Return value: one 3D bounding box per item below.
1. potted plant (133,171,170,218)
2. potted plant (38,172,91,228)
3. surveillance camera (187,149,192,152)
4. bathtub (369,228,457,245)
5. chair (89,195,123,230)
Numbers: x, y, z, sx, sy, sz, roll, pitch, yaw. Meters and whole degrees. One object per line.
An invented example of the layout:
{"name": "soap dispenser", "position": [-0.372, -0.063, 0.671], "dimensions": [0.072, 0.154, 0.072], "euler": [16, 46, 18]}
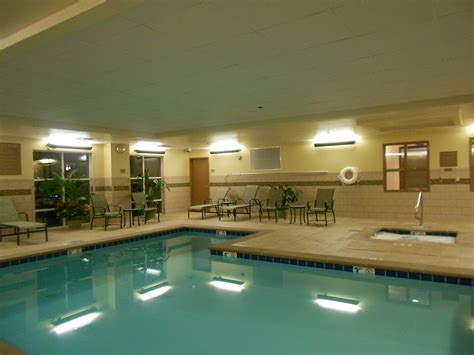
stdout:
{"name": "potted plant", "position": [-3.197, 0.460, 12.803], "dimensions": [1.075, 1.055, 0.814], "euler": [17, -1, -44]}
{"name": "potted plant", "position": [-5.154, 0.577, 10.247], "dimensions": [1.562, 1.567, 1.122], "euler": [-1, 5, -5]}
{"name": "surveillance camera", "position": [-1.953, -1.111, 13.700], "dimensions": [0.145, 0.135, 0.146], "euler": [-3, 3, -2]}
{"name": "bathtub", "position": [4.284, 1.384, 8.131], "dimensions": [1.715, 0.224, 0.790], "euler": [2, 10, 31]}
{"name": "chair", "position": [-3.948, 1.000, 10.241], "dimensions": [0.876, 0.976, 0.881], "euler": [0, -1, -31]}
